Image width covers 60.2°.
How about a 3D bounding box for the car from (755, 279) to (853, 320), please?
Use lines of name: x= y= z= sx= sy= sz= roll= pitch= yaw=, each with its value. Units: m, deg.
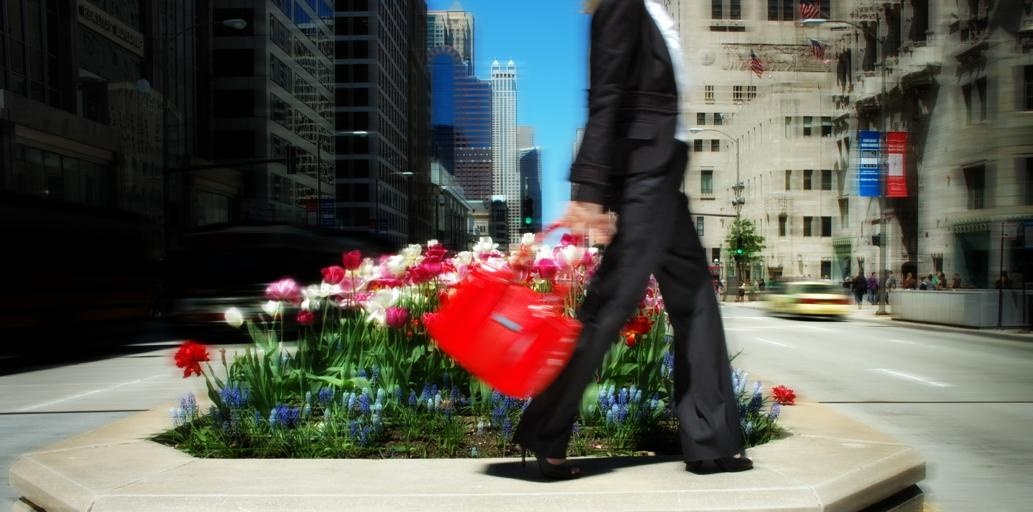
car: x=17.745 y=2.565 z=54.359 sx=4.394 sy=2.376 sz=1.618 roll=-2 pitch=0 yaw=45
